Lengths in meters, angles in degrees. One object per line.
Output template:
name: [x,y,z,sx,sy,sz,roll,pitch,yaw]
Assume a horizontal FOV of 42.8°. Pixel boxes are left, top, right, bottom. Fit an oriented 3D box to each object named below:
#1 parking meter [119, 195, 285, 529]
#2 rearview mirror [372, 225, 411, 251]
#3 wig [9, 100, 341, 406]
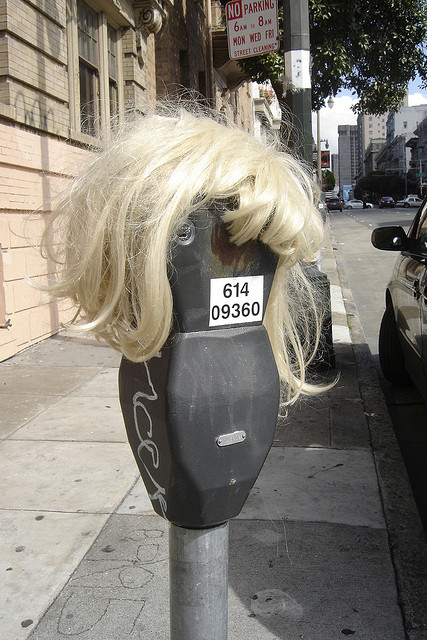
parking meter: [-0.026,0.093,0.948,0.288,0.589,0.207,-2,8,-4]
rearview mirror: [1.406,-0.643,4.333,0.284,0.100,0.214,-3,14,-3]
wig: [-0.047,-0.136,1.003,0.519,0.449,0.336,1,10,-20]
